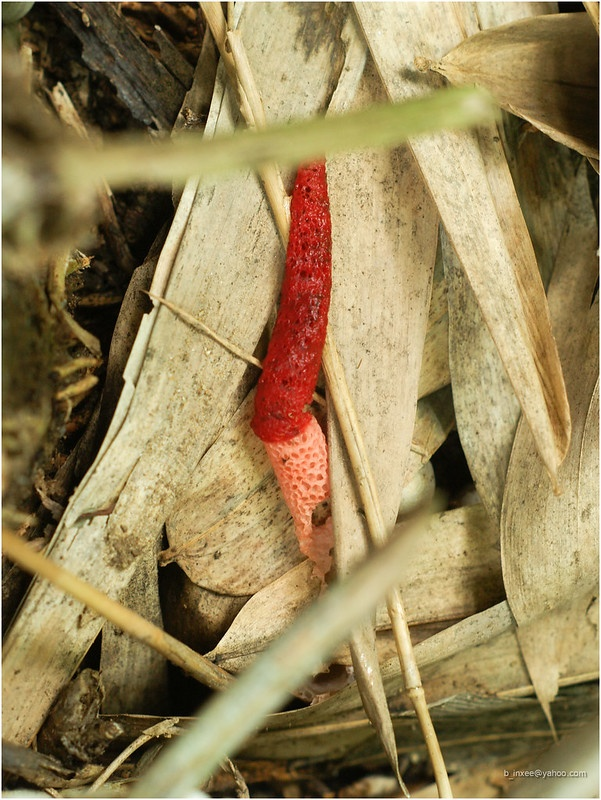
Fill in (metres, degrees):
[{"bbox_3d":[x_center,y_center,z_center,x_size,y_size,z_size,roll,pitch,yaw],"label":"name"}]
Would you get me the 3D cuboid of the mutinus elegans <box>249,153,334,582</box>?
[{"bbox_3d":[0.002,-0.014,0.801,0.063,0.407,0.098,8,20,42],"label":"mutinus elegans"}]
